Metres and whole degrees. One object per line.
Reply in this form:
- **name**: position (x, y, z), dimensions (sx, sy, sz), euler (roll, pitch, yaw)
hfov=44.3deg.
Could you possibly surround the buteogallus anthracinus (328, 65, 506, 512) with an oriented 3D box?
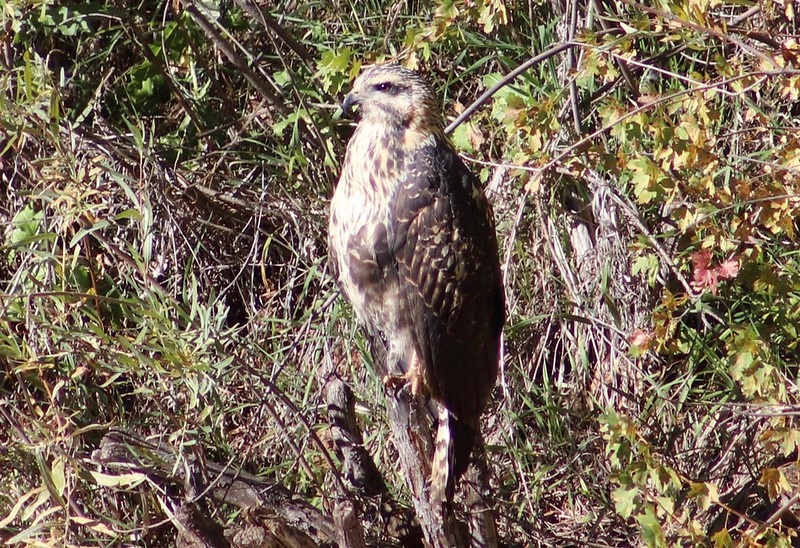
- **buteogallus anthracinus**: position (0.101, -0.032, 4.892), dimensions (0.778, 1.514, 1.381), euler (-13, 33, -17)
